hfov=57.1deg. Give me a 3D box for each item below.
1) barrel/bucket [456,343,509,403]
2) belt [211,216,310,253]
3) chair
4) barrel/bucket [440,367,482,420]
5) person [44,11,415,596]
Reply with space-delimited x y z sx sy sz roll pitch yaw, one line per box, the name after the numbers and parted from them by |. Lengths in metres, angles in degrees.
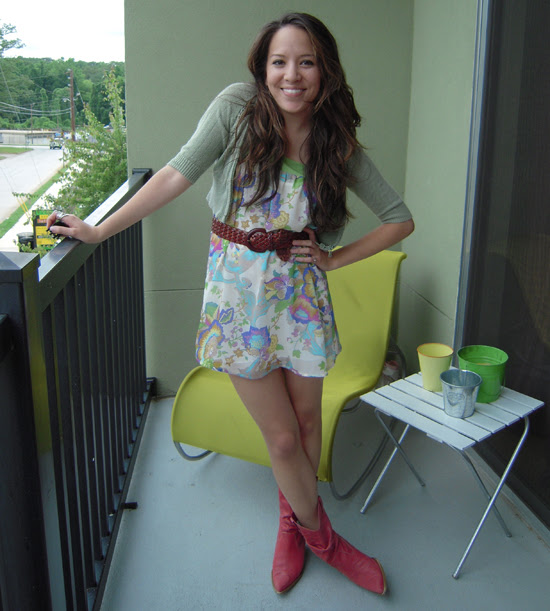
0.723 0.212 1.770 0.150 0.157 0.188 1 16 5 | barrel/bucket
-0.028 -0.174 1.321 0.239 0.085 0.082 0 13 2 | belt
0.120 0.258 2.277 0.767 1.045 1.041 4 6 34 | chair
0.599 0.280 1.647 0.116 0.126 0.145 0 22 5 | barrel/bucket
0.009 0.108 1.425 0.878 1.660 0.292 -6 13 -25 | person
